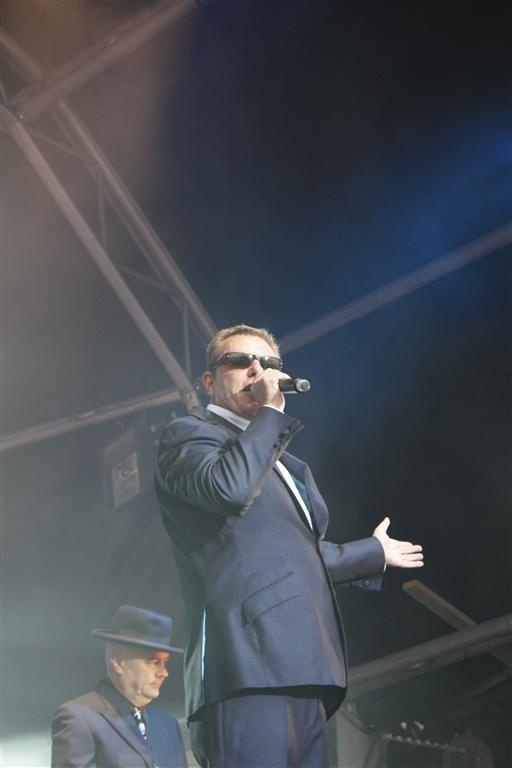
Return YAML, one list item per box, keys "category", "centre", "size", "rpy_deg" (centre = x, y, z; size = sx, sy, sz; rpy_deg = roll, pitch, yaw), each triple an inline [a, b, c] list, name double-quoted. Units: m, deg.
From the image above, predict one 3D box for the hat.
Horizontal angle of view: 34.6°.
- category: "hat"
  centre: [-0.362, 0.756, 2.560]
  size: [0.317, 0.104, 0.278]
  rpy_deg: [6, -12, 18]
